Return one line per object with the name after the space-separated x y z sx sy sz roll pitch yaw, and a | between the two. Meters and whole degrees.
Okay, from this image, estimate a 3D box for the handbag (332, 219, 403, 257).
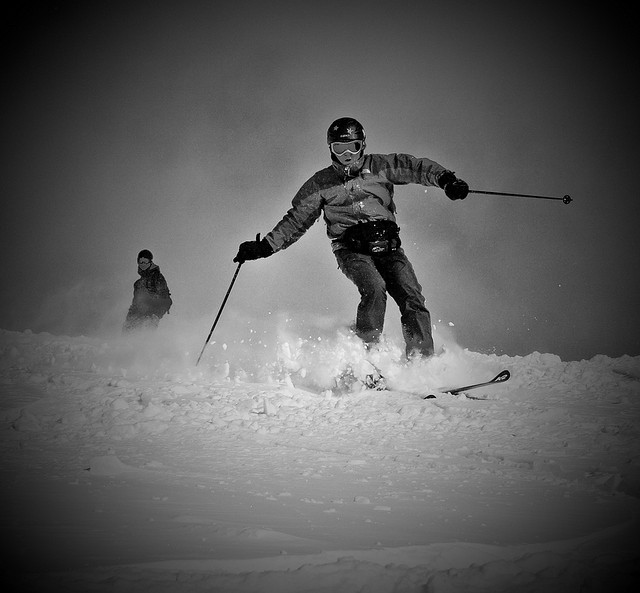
0.622 -0.739 7.556 0.578 0.266 0.446 -3 12 20 | handbag

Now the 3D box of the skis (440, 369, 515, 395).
1.811 0.944 6.826 0.989 0.205 0.272 -1 4 -21 | skis

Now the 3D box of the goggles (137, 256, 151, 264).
-3.743 -0.777 13.074 0.251 0.162 0.129 -1 3 -22 | goggles

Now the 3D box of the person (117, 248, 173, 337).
-3.677 -0.075 12.967 1.007 1.786 0.699 0 3 -17 | person
